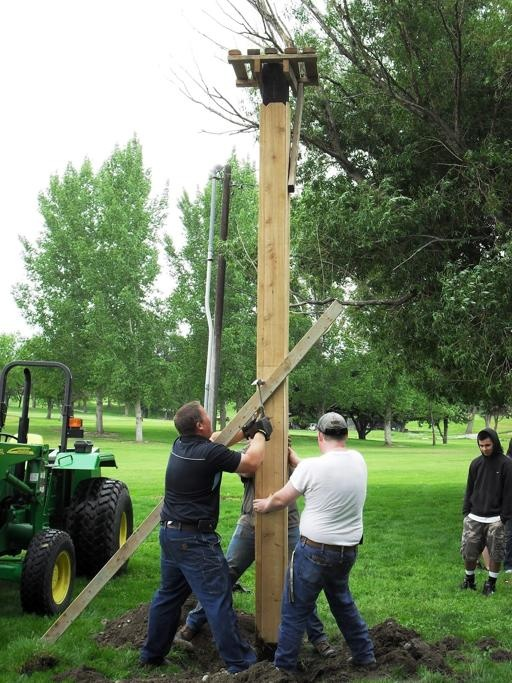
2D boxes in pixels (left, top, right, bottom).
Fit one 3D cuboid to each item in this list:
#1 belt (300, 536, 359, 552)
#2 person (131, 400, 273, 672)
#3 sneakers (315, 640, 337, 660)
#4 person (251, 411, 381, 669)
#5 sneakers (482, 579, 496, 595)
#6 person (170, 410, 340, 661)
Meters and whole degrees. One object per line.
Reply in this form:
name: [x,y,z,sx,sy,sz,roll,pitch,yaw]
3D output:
belt: [0.453,1.226,3.993,0.352,0.092,0.156,2,-5,-7]
person: [-0.252,1.260,4.442,0.778,1.603,0.789,-2,-6,34]
sneakers: [0.477,2.079,4.495,0.060,0.076,0.163,-30,-5,-24]
person: [0.431,1.216,4.075,0.692,1.551,0.336,3,-5,-17]
sneakers: [2.431,2.555,6.918,0.094,0.203,0.207,-3,-32,24]
person: [0.069,1.403,5.095,0.942,1.794,0.548,0,-35,8]
